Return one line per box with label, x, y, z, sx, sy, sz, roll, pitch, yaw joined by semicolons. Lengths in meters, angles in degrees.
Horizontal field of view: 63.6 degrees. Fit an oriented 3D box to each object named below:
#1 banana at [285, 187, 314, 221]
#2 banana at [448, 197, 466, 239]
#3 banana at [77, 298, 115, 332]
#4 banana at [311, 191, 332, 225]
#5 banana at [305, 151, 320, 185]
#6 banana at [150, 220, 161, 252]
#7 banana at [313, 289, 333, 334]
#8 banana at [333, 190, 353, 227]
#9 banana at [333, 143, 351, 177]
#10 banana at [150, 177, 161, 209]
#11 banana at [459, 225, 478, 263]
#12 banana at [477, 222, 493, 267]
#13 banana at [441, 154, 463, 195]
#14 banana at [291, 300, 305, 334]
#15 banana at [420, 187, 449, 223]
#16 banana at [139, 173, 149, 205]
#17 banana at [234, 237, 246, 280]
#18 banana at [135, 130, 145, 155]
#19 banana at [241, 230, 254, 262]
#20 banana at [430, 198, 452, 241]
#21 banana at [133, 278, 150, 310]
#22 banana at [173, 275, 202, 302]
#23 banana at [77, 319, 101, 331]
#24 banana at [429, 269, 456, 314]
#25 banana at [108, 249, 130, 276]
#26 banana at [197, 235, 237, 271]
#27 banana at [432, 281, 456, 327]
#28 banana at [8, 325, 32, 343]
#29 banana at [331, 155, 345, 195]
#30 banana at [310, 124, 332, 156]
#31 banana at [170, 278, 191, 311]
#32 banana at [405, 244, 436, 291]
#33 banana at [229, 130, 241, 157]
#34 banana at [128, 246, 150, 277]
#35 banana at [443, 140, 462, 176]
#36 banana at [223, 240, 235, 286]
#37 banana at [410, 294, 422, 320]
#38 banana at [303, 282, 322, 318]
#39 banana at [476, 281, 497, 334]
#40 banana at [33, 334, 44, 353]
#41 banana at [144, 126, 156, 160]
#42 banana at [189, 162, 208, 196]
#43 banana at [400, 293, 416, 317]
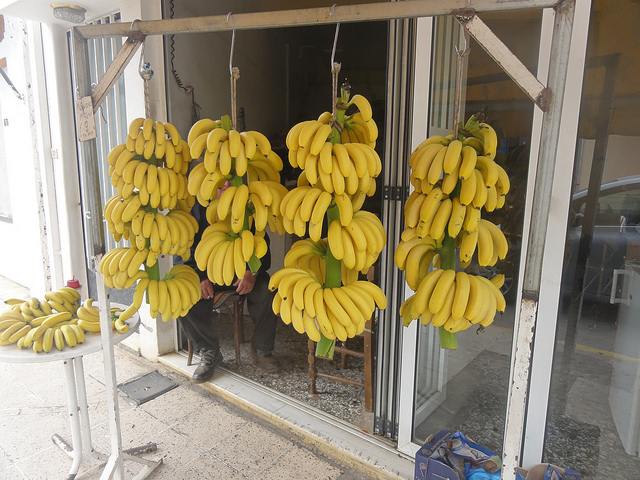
banana;-0.124;-0.167;2.525;0.108;0.148;0.423;16;7;10
banana;0.625;-0.092;2.377;0.085;0.203;0.071;-10;16;-42
banana;-1.400;0.481;3.244;0.278;0.092;0.196;25;21;16
banana;0.004;-0.144;2.377;0.053;0.179;0.052;24;-19;-2
banana;-0.037;-0.330;2.374;0.064;0.154;0.053;0;12;-5
banana;-0.858;-0.017;2.693;0.039;0.169;0.045;-2;-3;-22
banana;0.006;0.334;2.392;0.050;0.273;0.085;-15;-11;36
banana;0.114;-0.139;2.397;0.099;0.160;0.082;-1;12;-12
banana;0.098;-0.355;2.336;0.052;0.179;0.049;-11;-31;-2
banana;-0.849;-0.242;2.663;0.037;0.156;0.041;3;-2;-37
banana;0.680;0.027;2.381;0.051;0.213;0.066;12;-5;-6
banana;0.780;0.023;2.444;0.076;0.199;0.084;5;13;18
banana;0.591;-0.275;2.372;0.053;0.225;0.069;10;5;-10
banana;-0.109;0.369;2.445;0.049;0.170;0.042;-7;-2;-35
banana;0.534;-0.164;2.389;0.160;0.155;0.054;-7;14;-33
banana;-0.904;-0.257;2.646;0.037;0.159;0.040;0;-3;-11
banana;-0.391;0.090;2.491;0.048;0.195;0.053;-9;-20;5
banana;-0.918;-0.492;2.635;0.034;0.131;0.032;-1;-7;12
banana;-0.352;0.029;2.481;0.061;0.133;0.032;-9;-13;0
banana;0.553;-0.091;2.367;0.059;0.220;0.062;16;-8;-2
banana;-0.949;0.272;2.768;0.047;0.189;0.060;1;-28;31
banana;-0.735;0.270;2.883;0.037;0.131;0.127;-27;-5;-7
banana;-1.411;0.524;3.148;0.123;0.066;0.085;-5;14;-25
banana;0.559;0.229;2.422;0.066;0.260;0.079;17;-26;25
banana;-1.068;0.125;2.739;0.102;0.138;0.069;-4;13;-22
banana;-0.526;0.059;2.538;0.236;0.145;0.057;-42;-35;27
banana;0.572;0.288;2.381;0.038;0.202;0.067;17;-3;-12
banana;-1.751;0.553;3.013;0.114;0.084;0.070;-3;13;-19
banana;0.079;-0.293;2.376;0.044;0.180;0.050;-11;1;3
banana;-0.003;-0.426;2.369;0.049;0.046;0.159;-7;-16;-23
banana;-0.745;0.293;2.814;0.043;0.154;0.116;-13;10;0
banana;0.464;0.107;2.399;0.118;0.232;0.058;13;3;-5
banana;-0.406;-0.452;2.449;0.044;0.157;0.047;8;-36;-25
banana;-0.961;0.118;2.704;0.050;0.199;0.057;31;-21;-28
banana;0.611;-0.383;2.375;0.052;0.185;0.052;11;-29;19
banana;-0.433;0.116;2.506;0.047;0.199;0.057;2;-15;3
banana;0.457;0.319;2.467;0.035;0.122;0.030;-4;-2;-36
banana;-0.039;0.277;2.418;0.069;0.133;0.123;2;12;3
banana;0.806;0.324;2.474;0.064;0.238;0.060;21;-17;-18
banana;-1.620;0.602;2.969;0.048;0.066;0.100;-5;15;-28
banana;-0.869;-0.483;2.647;0.036;0.186;0.044;16;-6;-36
banana;-0.617;-0.293;2.560;0.042;0.162;0.088;5;33;-46
banana;0.431;0.319;2.554;0.050;0.172;0.037;7;30;-13
